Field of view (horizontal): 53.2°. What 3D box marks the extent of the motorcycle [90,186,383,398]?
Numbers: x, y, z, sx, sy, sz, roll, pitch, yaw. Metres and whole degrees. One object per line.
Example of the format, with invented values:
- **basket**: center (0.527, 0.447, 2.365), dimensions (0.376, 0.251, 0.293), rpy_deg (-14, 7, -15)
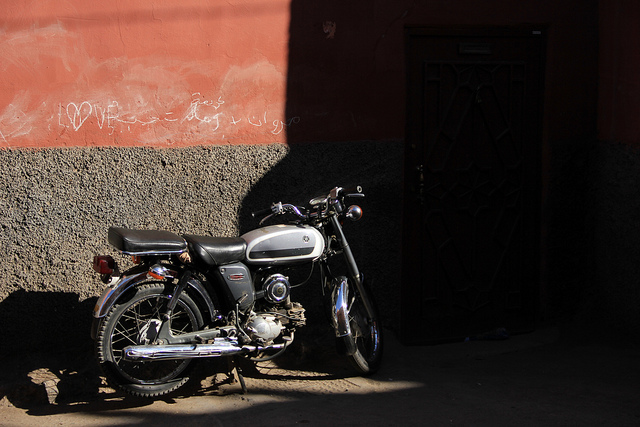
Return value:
- **motorcycle**: center (-0.567, 0.729, 5.911), dimensions (3.054, 1.648, 0.870), rpy_deg (-1, 1, -32)
